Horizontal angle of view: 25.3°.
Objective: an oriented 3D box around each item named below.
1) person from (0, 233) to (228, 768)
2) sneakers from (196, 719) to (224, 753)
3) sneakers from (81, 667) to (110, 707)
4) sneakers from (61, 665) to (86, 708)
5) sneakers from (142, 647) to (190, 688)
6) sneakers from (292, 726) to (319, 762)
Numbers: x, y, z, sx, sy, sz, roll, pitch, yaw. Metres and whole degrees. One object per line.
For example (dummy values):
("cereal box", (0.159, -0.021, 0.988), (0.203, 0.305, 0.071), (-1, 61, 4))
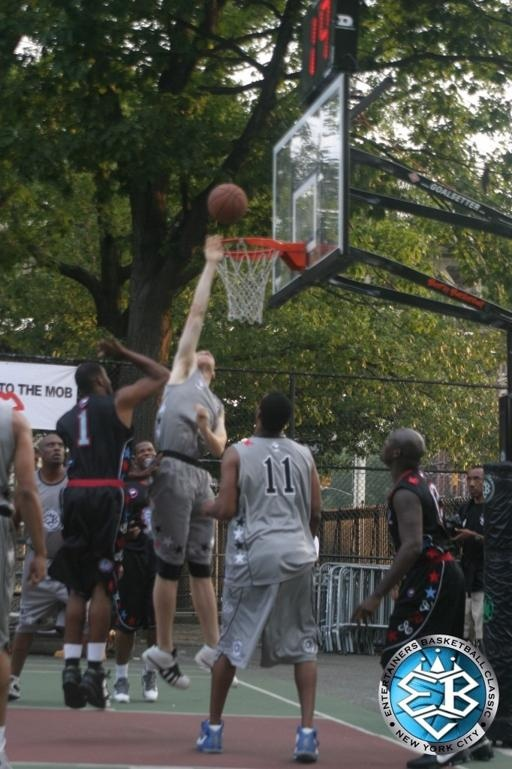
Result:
("person", (-0.671, 0.479, 6.735), (0.992, 2.225, 0.837), (4, -2, -15))
("sneakers", (-0.226, 1.752, 5.702), (0.151, 0.197, 0.448), (0, -15, -2))
("sneakers", (-0.892, 1.708, 6.425), (0.121, 0.147, 0.308), (-1, -36, 5))
("sneakers", (-1.025, 1.669, 6.314), (0.100, 0.119, 0.265), (-7, -47, -3))
("sneakers", (-0.540, 1.623, 6.571), (0.268, 0.182, 0.244), (4, -3, -23))
("sneakers", (0.244, 1.747, 5.559), (0.160, 0.197, 0.444), (1, -13, 3))
